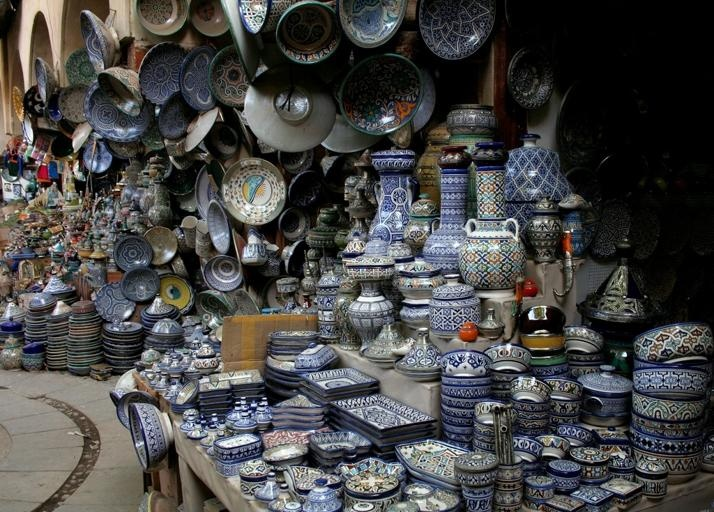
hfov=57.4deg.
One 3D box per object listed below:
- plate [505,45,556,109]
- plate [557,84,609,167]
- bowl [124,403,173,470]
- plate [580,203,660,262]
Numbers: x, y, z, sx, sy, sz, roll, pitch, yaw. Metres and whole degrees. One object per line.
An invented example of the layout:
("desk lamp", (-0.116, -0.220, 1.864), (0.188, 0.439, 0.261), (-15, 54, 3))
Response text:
("plate", (1.222, -1.221, 4.532), (0.418, 0.437, 0.107), (-8, 13, -27))
("plate", (1.595, -0.889, 4.679), (0.464, 0.548, 0.121), (0, -2, -6))
("bowl", (-1.228, 1.063, 3.914), (0.211, 0.387, 0.299), (-8, 13, -28))
("plate", (1.836, -0.169, 4.541), (0.547, 0.425, 0.145), (-5, 12, -16))
